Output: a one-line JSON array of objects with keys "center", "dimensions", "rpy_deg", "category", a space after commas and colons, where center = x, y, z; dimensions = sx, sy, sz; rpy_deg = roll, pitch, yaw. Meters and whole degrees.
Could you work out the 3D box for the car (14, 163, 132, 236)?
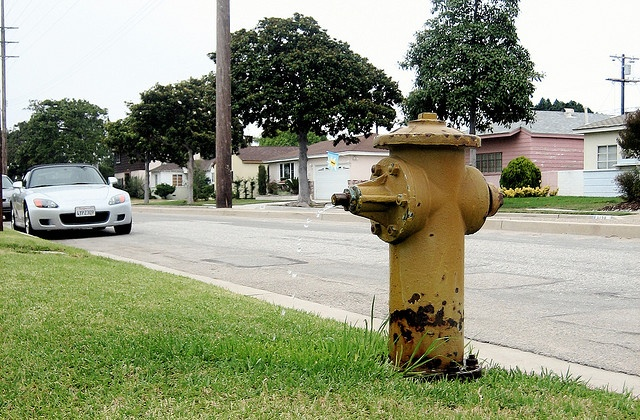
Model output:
[{"center": [-6.181, -0.181, 14.085], "dimensions": [2.820, 1.825, 2.009], "rpy_deg": [7, 6, 30], "category": "car"}]
